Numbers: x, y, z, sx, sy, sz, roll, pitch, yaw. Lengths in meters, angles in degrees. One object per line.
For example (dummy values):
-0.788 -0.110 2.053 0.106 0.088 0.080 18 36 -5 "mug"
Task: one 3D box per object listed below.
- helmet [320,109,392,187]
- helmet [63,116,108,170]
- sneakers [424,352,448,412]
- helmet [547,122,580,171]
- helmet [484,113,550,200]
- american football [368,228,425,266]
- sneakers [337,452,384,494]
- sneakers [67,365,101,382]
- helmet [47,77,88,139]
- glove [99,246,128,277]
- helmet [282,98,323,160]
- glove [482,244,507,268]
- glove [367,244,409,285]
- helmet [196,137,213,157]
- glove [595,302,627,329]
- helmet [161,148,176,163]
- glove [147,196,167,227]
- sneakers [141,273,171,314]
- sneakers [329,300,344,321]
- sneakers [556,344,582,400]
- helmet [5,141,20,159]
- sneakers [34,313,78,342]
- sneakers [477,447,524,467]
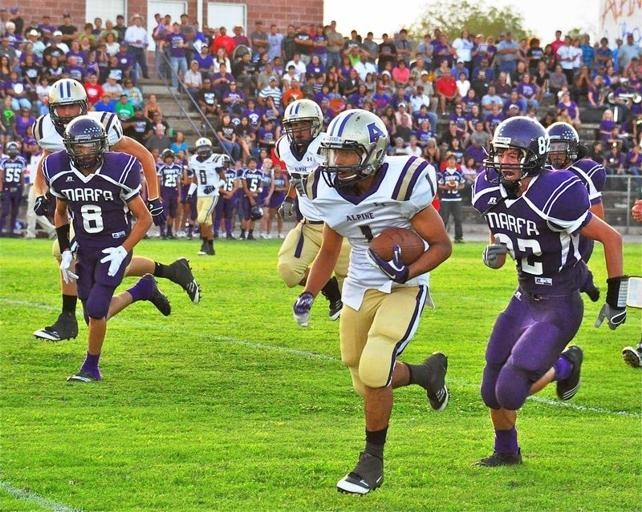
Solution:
0.153 -0.639 6.247 0.486 0.391 0.373 -17 12 -41 "helmet"
-1.706 -0.807 7.661 0.301 0.397 0.232 -2 11 -13 "helmet"
0.757 0.795 6.747 0.133 0.376 0.253 5 5 39 "sneakers"
1.861 -0.844 8.050 0.243 0.342 0.403 3 11 13 "helmet"
1.215 -0.635 6.498 0.501 0.544 0.411 -7 5 -44 "helmet"
0.456 -0.056 6.225 0.288 0.164 0.193 0 10 -6 "american football"
0.248 1.260 6.082 0.133 0.155 0.357 -4 -9 34 "sneakers"
-1.736 0.858 7.766 0.211 0.083 0.103 5 -5 -17 "sneakers"
-2.041 -1.250 8.566 0.353 0.454 0.453 -3 14 -6 "helmet"
-1.504 0.018 7.665 0.178 0.207 0.058 -3 -26 5 "glove"
-0.153 -1.147 9.242 0.392 0.483 0.507 -8 5 16 "helmet"
1.091 -0.003 6.620 0.132 0.166 0.083 -4 38 -11 "glove"
0.400 0.051 6.169 0.242 0.194 0.126 -1 11 -8 "glove"
-1.795 -1.669 16.232 0.324 0.341 0.405 -1 3 -4 "helmet"
1.853 0.380 6.706 0.166 0.198 0.267 6 12 25 "glove"
-2.539 -1.667 17.603 0.183 0.189 0.238 -8 8 -10 "helmet"
-1.403 -0.371 8.942 0.169 0.247 0.075 -33 49 -20 "glove"
-1.360 0.316 8.697 0.170 0.366 0.136 -38 12 -21 "sneakers"
0.138 0.492 9.749 0.111 0.255 0.276 0 11 -1 "sneakers"
1.596 0.775 6.870 0.175 0.380 0.130 0 16 -29 "sneakers"
-4.926 -1.676 16.877 0.232 0.260 0.249 2 -23 -11 "helmet"
-2.068 0.567 8.223 0.174 0.229 0.382 7 12 28 "sneakers"
1.101 1.227 6.467 0.297 0.116 0.097 1 -10 -1 "sneakers"
